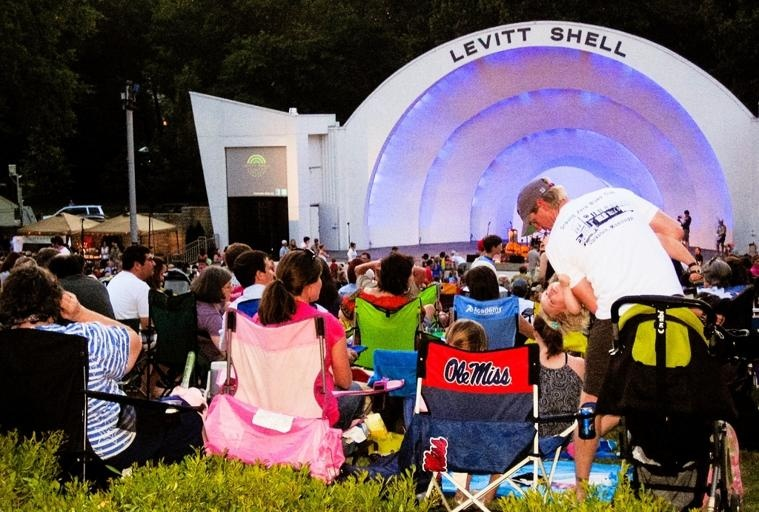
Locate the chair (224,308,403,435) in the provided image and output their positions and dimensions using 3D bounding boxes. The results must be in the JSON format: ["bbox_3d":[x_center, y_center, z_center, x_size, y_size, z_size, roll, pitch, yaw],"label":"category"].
[{"bbox_3d":[-0.599,1.212,7.657,1.439,1.450,0.933,-4,2,34],"label":"chair"}]

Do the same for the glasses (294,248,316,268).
[{"bbox_3d":[-0.718,0.015,7.786,0.148,0.176,0.047,10,14,28],"label":"glasses"}]

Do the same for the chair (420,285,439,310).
[{"bbox_3d":[0.648,0.531,10.184,0.199,0.310,0.315,-2,10,3],"label":"chair"}]

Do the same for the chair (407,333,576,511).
[{"bbox_3d":[1.003,1.412,7.412,1.378,2.049,1.459,0,-5,19],"label":"chair"}]
